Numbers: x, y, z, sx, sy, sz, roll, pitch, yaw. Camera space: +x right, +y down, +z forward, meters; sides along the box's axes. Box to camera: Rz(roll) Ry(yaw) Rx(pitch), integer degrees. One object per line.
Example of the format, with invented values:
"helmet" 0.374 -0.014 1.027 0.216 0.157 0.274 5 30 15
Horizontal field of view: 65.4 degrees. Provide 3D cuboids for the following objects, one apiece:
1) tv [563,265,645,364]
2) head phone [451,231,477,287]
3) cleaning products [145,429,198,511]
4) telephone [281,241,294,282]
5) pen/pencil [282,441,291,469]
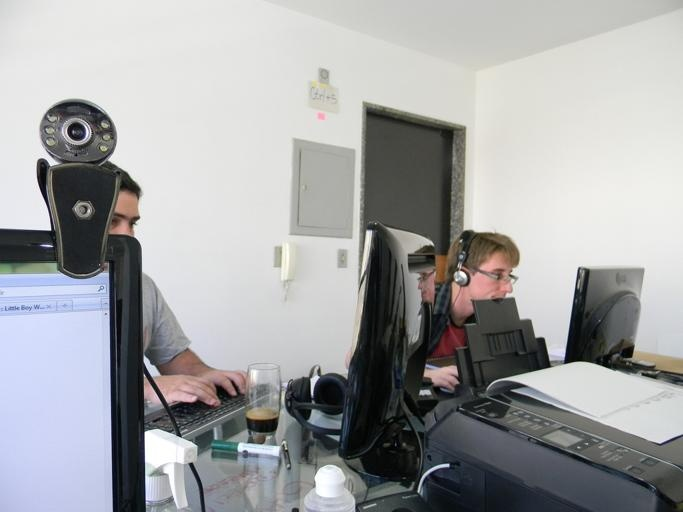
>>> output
"tv" 0.843 0.192 1.647 0.426 0.312 0.085 -1 3 -40
"head phone" 0.513 0.003 2.243 0.092 0.235 0.228 3 6 13
"cleaning products" -0.320 0.393 0.982 0.085 0.156 0.119 -1 7 -21
"telephone" -0.313 0.022 2.945 0.074 0.185 0.059 -3 -10 3
"pen/pencil" -0.124 0.435 1.166 0.011 0.009 0.063 22 22 -21
